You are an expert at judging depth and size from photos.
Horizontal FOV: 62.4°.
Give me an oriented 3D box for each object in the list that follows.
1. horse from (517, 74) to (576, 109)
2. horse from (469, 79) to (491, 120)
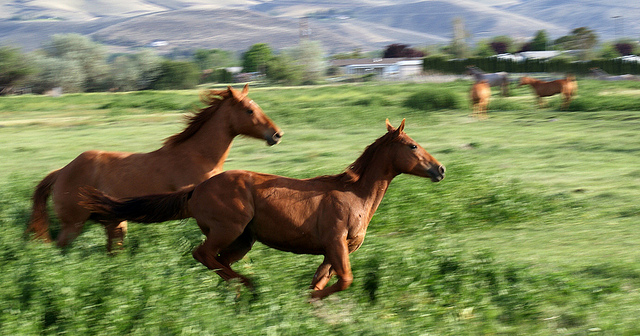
[{"bbox_3d":[12.494,-4.129,28.757,0.936,1.656,3.243,-9,10,-40],"label":"horse"},{"bbox_3d":[8.178,-3.535,27.095,0.910,1.734,2.015,3,16,15],"label":"horse"}]
